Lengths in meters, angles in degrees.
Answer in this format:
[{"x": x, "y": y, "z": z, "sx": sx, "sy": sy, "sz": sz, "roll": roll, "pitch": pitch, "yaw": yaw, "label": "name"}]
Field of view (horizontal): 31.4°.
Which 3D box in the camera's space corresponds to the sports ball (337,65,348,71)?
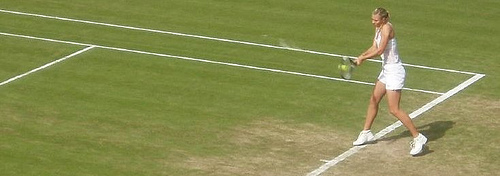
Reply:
[{"x": 4.353, "y": -0.981, "z": 41.721, "sx": 0.397, "sy": 0.372, "sz": 0.499, "roll": 9, "pitch": 30, "yaw": -1, "label": "sports ball"}]
